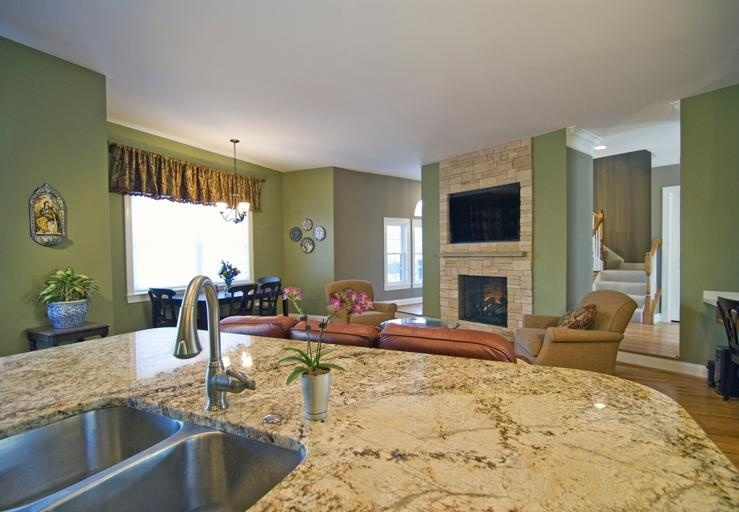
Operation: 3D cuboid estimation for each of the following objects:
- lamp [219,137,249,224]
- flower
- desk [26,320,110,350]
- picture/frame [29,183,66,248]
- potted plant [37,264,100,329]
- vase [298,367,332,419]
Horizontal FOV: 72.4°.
[{"bbox_3d":[-2.128,-1.118,7.933,0.458,1.314,0.452,9,14,23],"label":"lamp"},{"bbox_3d":[-0.289,0.468,2.886,0.581,0.713,0.554,1,-5,-2],"label":"flower"},{"bbox_3d":[-2.851,0.727,4.741,0.376,0.408,0.433,1,2,22],"label":"desk"},{"bbox_3d":[-3.095,-0.384,4.829,0.289,0.642,0.051,-3,-18,-33],"label":"picture/frame"},{"bbox_3d":[-2.863,0.383,4.880,0.525,0.530,0.517,-3,3,-44],"label":"potted plant"},{"bbox_3d":[-0.293,0.735,2.621,0.189,0.217,0.195,-11,-13,35],"label":"vase"}]
